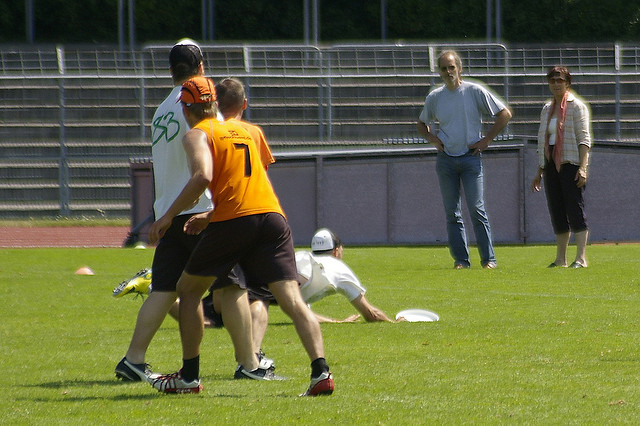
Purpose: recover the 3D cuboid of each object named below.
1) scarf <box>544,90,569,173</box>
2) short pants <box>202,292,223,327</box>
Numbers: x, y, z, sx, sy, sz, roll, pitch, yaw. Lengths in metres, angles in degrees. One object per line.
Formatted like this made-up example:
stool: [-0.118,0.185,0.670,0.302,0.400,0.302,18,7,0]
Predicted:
scarf: [4.944,-1.616,33.755,0.537,1.673,0.312,-2,2,9]
short pants: [-2.125,1.897,31.340,0.403,0.672,0.175,-1,2,12]
